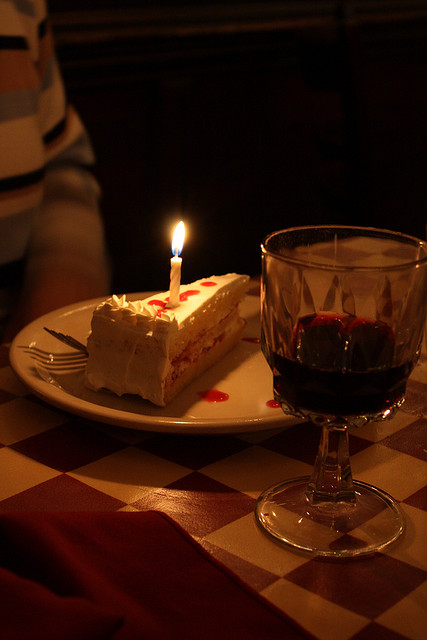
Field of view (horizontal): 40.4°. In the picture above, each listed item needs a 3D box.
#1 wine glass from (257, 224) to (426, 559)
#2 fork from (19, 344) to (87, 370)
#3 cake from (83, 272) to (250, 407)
[{"bbox_3d":[0.133,0.034,0.549,0.182,0.240,0.303,4,11,4],"label":"wine glass"},{"bbox_3d":[-0.206,0.050,0.819,0.127,0.017,0.036,4,31,-50],"label":"fork"},{"bbox_3d":[-0.040,0.006,0.918,0.131,0.130,0.348,18,22,23],"label":"cake"}]
